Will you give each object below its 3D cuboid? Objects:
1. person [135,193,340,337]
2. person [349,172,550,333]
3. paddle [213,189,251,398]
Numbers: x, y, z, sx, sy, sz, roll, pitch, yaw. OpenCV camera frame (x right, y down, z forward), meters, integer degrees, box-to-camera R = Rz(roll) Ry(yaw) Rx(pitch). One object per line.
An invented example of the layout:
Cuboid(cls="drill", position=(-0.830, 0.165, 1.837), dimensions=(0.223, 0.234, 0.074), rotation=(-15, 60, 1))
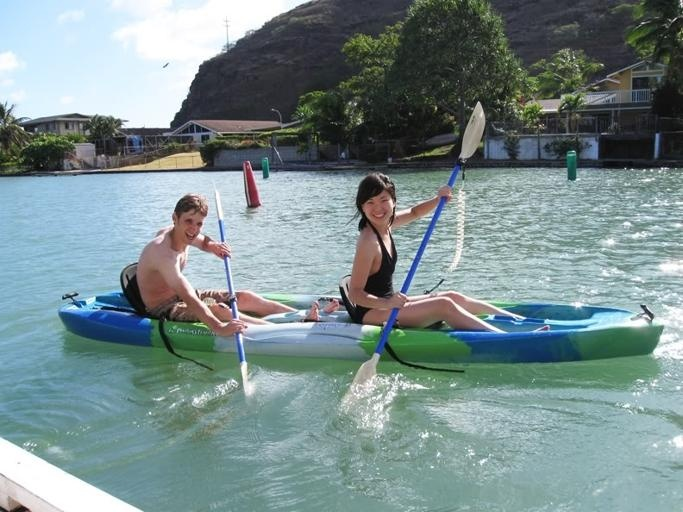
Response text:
Cuboid(cls="person", position=(-0.956, 0.196, 5.792), dimensions=(2.280, 1.111, 1.228), rotation=(6, 6, 18))
Cuboid(cls="person", position=(0.861, 0.011, 5.308), dimensions=(1.685, 1.219, 0.822), rotation=(6, 21, 11))
Cuboid(cls="paddle", position=(-1.249, 0.369, 7.266), dimensions=(0.100, 2.945, 0.171), rotation=(-24, -26, 20))
